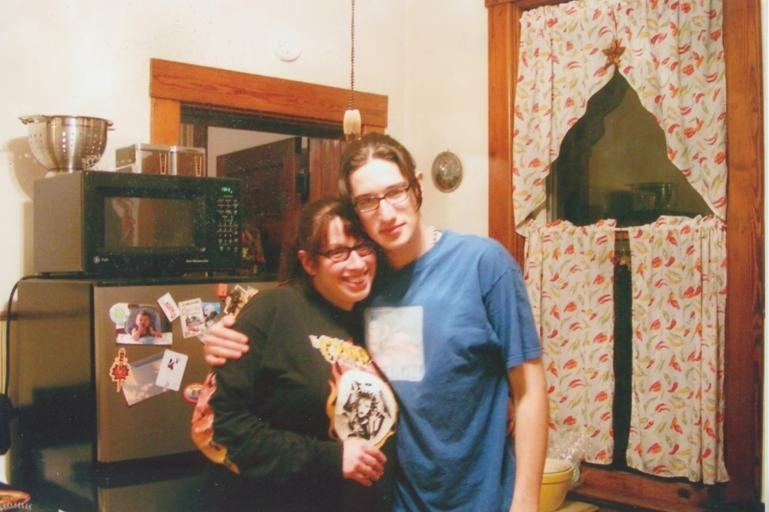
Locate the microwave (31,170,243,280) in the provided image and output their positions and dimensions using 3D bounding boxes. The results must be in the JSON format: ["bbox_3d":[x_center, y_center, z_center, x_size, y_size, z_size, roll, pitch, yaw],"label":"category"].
[{"bbox_3d":[-0.782,-0.140,2.202,0.517,0.304,0.373,1,-3,-34],"label":"microwave"}]
